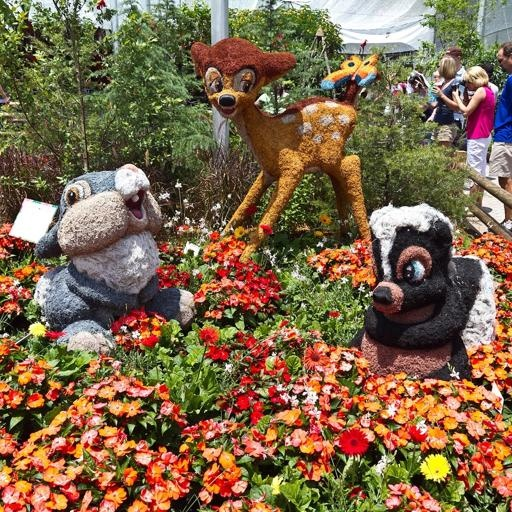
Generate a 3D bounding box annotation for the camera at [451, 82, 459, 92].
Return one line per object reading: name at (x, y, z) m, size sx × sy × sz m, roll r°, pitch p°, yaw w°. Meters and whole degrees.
camera at (2.491, -2.110, 6.484) m, size 0.121 × 0.094 × 0.109 m, roll 3°, pitch -14°, yaw 13°
